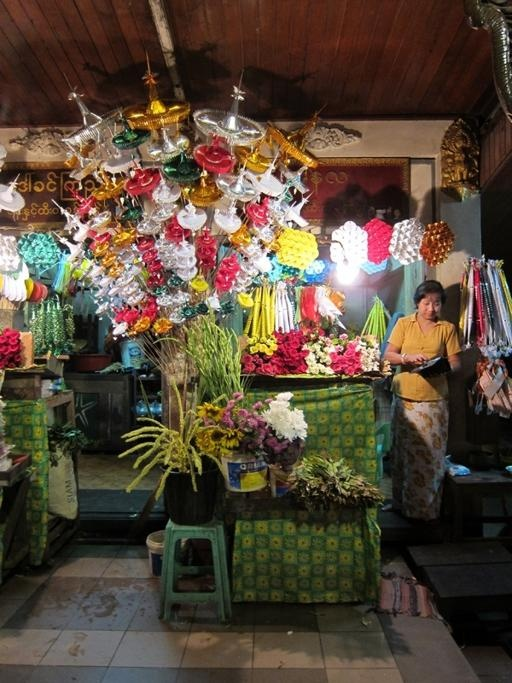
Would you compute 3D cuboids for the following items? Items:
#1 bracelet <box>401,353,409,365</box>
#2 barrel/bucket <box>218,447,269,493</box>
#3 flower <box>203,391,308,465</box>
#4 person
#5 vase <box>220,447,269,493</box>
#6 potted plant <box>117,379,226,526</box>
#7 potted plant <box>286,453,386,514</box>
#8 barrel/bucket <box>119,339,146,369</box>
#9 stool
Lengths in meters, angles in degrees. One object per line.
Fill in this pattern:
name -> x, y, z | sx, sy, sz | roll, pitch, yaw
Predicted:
bracelet -> 0.943, 0.104, 3.388 | 0.029, 0.054, 0.061 | -6, 39, 16
barrel/bucket -> -0.071, 0.619, 2.610 | 0.252, 0.161, 0.207 | 0, -2, -11
flower -> -0.027, 0.408, 2.616 | 0.445, 0.253, 0.408 | 3, 3, -9
person -> 1.058, 0.377, 3.409 | 0.472, 1.460, 0.578 | -1, 0, 20
vase -> -0.068, 0.621, 2.610 | 0.239, 0.151, 0.222 | 0, -1, -7
potted plant -> -0.375, 0.604, 2.617 | 0.466, 0.546, 0.430 | 1, -8, -8
potted plant -> 0.377, 0.694, 2.603 | 0.334, 0.126, 0.304 | 1, 13, -5
barrel/bucket -> -1.520, 0.162, 6.289 | 0.366, 0.354, 0.311 | -1, 0, 14
stool -> -0.227, 1.124, 2.719 | 0.490, 0.466, 0.445 | 1, -8, -1
